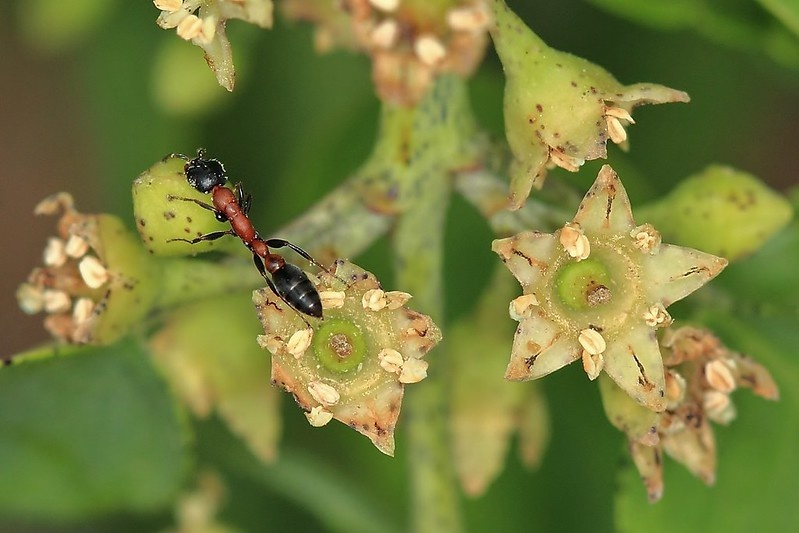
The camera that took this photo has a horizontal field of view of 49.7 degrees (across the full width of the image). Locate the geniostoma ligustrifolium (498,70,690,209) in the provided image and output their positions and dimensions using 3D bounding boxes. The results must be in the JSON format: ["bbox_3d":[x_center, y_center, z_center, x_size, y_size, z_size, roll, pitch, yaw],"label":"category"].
[{"bbox_3d":[0.332,-0.217,1.463,0.322,0.154,0.222,-4,71,-8],"label":"geniostoma ligustrifolium"}]

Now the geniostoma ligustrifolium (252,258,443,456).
[{"bbox_3d":[-0.113,0.137,1.467,0.319,0.163,0.249,23,70,2],"label":"geniostoma ligustrifolium"}]

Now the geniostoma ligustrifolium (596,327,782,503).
[{"bbox_3d":[0.499,0.235,1.474,0.290,0.107,0.300,-15,79,6],"label":"geniostoma ligustrifolium"}]
